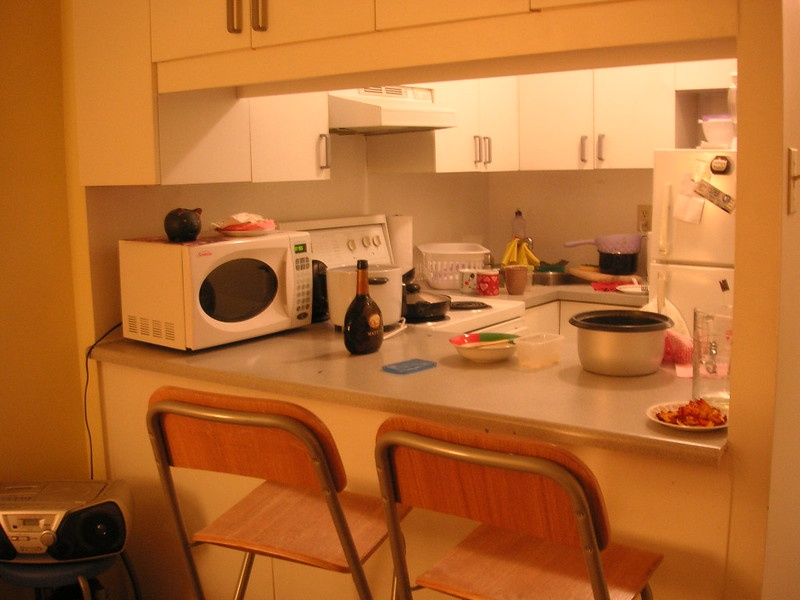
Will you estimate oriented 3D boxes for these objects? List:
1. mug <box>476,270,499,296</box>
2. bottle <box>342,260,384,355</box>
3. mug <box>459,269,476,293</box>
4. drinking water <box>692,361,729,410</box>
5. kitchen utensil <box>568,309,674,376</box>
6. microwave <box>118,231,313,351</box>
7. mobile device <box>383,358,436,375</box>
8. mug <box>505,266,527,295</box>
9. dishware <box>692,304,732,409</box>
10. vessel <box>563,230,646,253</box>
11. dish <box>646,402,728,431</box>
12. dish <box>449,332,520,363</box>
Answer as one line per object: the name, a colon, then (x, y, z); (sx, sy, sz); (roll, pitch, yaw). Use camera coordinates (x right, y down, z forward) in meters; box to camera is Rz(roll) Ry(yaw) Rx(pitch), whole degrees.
mug: (0.409, -0.080, 3.228); (0.109, 0.124, 0.112); (0, 2, 0)
bottle: (-0.125, 0.010, 2.154); (0.126, 0.311, 0.233); (0, 13, 9)
mug: (0.324, -0.087, 3.209); (0.092, 0.132, 0.094); (-1, 2, -4)
drinking water: (0.753, 0.202, 1.629); (0.095, 0.105, 0.096); (0, -1, 3)
kitchen utensil: (0.619, 0.114, 1.906); (0.277, 0.147, 0.274); (-11, 10, -39)
microwave: (-0.641, -0.061, 2.404); (0.394, 0.363, 0.554); (11, 15, 36)
mobile device: (0.030, 0.194, 1.990); (0.162, 0.013, 0.110); (-13, 17, -40)
mug: (0.560, -0.102, 3.263); (0.111, 0.135, 0.137); (-1, 0, -2)
dishware: (0.749, 0.136, 1.626); (0.089, 0.209, 0.065); (5, 15, 27)
vessel: (1.090, -0.290, 3.555); (0.309, 0.090, 0.183); (-8, -6, 24)
dish: (0.663, 0.261, 1.541); (0.184, 0.045, 0.120); (-4, 13, -8)
dish: (0.258, 0.146, 2.063); (0.201, 0.070, 0.161); (0, 13, 6)
